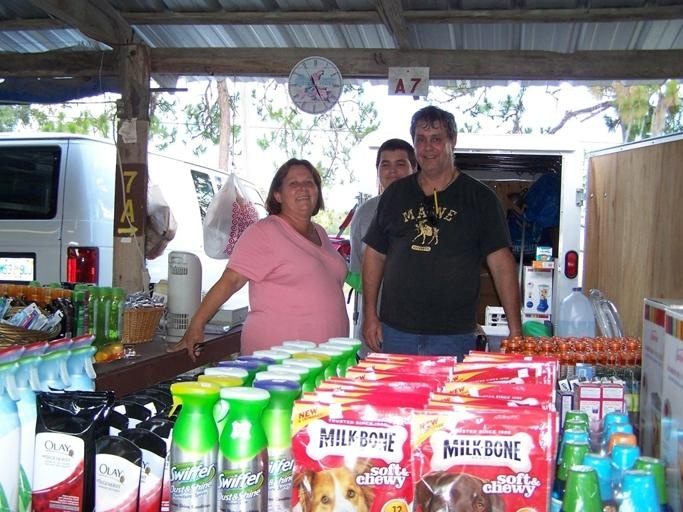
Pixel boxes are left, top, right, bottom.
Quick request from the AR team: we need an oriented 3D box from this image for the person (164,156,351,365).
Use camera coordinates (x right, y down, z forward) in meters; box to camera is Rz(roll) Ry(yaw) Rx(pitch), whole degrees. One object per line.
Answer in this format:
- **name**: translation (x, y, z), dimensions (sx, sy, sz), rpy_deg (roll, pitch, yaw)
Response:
- **person**: translation (-0.404, -0.021, 3.087), dimensions (0.924, 1.172, 0.515), rpy_deg (0, -1, -9)

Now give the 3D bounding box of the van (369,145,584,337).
- **van**: translation (2.019, -0.128, 6.119), dimensions (1.505, 2.148, 2.008), rpy_deg (3, -4, -6)

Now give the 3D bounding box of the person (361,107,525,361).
- **person**: translation (0.588, -0.143, 3.198), dimensions (0.992, 1.530, 0.399), rpy_deg (0, -1, 11)
